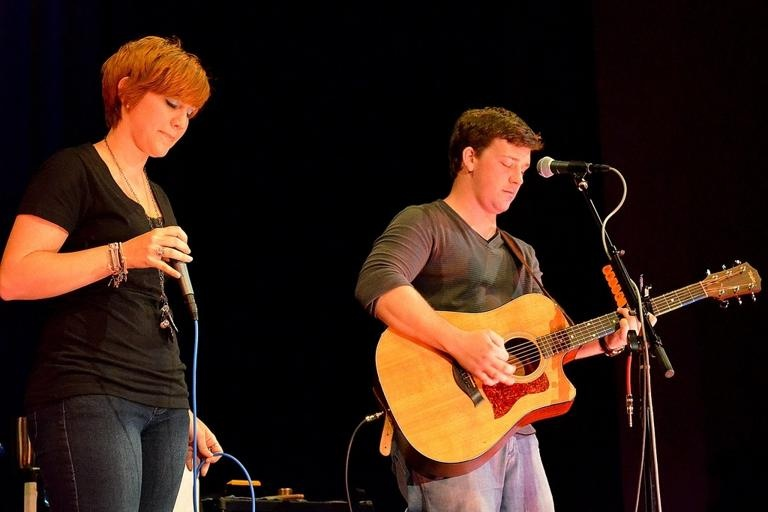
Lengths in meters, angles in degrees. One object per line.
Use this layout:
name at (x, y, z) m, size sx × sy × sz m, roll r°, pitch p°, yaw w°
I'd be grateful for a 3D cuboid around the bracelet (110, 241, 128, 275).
bracelet at (-1.045, 0.009, 2.807) m, size 0.033 × 0.113 × 0.080 m, roll -5°, pitch -5°, yaw 7°

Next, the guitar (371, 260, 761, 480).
guitar at (0.926, 0.554, 3.936) m, size 2.167 × 0.916 × 0.251 m, roll -21°, pitch -10°, yaw -17°

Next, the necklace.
necklace at (-1.054, -0.246, 3.095) m, size 0.115 × 0.843 × 0.194 m, roll -19°, pitch -9°, yaw -13°
